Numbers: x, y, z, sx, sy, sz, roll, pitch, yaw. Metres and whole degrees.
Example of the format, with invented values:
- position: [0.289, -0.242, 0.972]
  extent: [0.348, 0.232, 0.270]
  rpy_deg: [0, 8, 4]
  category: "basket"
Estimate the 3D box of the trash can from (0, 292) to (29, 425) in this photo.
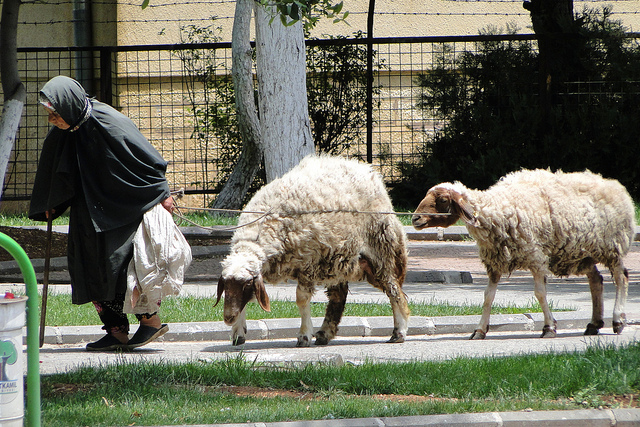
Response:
- position: [-3.100, 1.476, 11.635]
  extent: [0.298, 1.330, 0.260]
  rpy_deg: [-1, 5, -24]
  category: "trash can"

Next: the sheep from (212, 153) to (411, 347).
- position: [-0.255, 0.519, 15.100]
  extent: [1.536, 2.532, 3.341]
  rpy_deg: [-1, 4, 39]
  category: "sheep"
